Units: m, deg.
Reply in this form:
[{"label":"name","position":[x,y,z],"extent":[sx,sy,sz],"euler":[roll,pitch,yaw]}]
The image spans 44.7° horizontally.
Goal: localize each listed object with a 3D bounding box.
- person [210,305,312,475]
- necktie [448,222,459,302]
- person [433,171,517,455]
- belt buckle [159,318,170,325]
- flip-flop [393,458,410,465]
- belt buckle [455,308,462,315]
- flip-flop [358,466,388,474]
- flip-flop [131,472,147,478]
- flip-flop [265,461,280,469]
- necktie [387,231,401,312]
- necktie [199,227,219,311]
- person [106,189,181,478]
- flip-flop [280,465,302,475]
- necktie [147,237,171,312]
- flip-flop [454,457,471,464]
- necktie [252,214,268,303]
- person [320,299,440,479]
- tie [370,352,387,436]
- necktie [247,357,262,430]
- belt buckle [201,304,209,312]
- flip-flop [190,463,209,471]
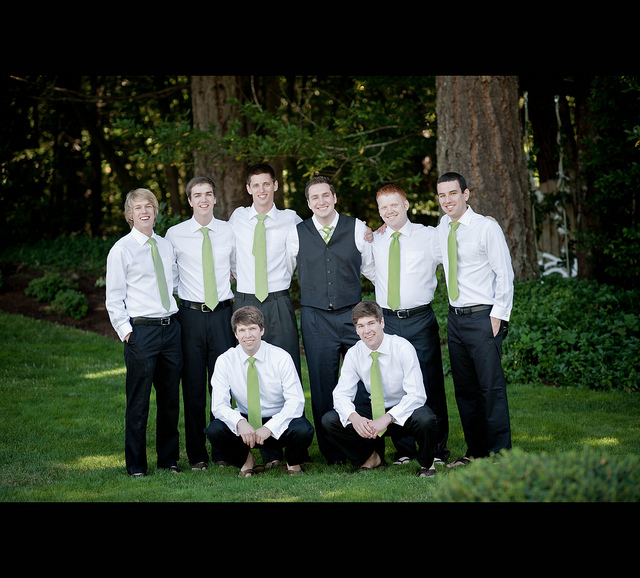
[{"label":"person","position":[-0.455,0.783,6.017],"extent":[0.827,1.314,0.630],"euler":[2,7,34]},{"label":"necktie","position":[1.015,-0.201,5.916],"extent":[0.099,0.610,0.038],"euler":[3,8,36]},{"label":"person","position":[1.160,0.210,5.925],"extent":[0.596,2.186,0.427],"euler":[1,6,24]},{"label":"belt buckle","position":[-1.205,0.247,6.007],"extent":[0.088,0.079,0.039],"euler":[2,8,-22]},{"label":"flip-flop","position":[0.641,1.362,6.118],"extent":[0.106,0.051,0.042],"euler":[-4,12,6]},{"label":"belt buckle","position":[1.052,0.166,5.926],"extent":[0.011,0.054,0.048],"euler":[0,1,-29]},{"label":"flip-flop","position":[0.408,1.387,6.008],"extent":[0.190,0.058,0.067],"euler":[8,-12,-30]},{"label":"flip-flop","position":[-1.374,1.419,5.954],"extent":[0.108,0.017,0.060],"euler":[-5,7,-22]},{"label":"flip-flop","position":[-0.378,1.384,6.151],"extent":[0.104,0.017,0.113],"euler":[-1,7,9]},{"label":"necktie","position":[0.579,-0.145,6.093],"extent":[0.113,0.599,0.139],"euler":[-1,6,6]},{"label":"necktie","position":[-0.877,-0.169,6.174],"extent":[0.115,0.646,0.216],"euler":[-3,6,-9]},{"label":"person","position":[-1.351,0.326,6.020],"extent":[0.530,2.183,0.390],"euler":[-3,6,-13]},{"label":"flip-flop","position":[-0.225,1.396,6.000],"extent":[0.162,0.074,0.059],"euler":[4,-7,3]},{"label":"necktie","position":[-1.239,-0.116,6.026],"extent":[0.090,0.576,0.180],"euler":[-7,8,-40]},{"label":"flip-flop","position":[1.114,1.339,6.085],"extent":[0.123,0.023,0.101],"euler":[-1,7,14]},{"label":"necktie","position":[-0.469,-0.253,6.234],"extent":[0.126,0.688,0.187],"euler":[-2,6,-4]},{"label":"person","position":[0.442,0.736,5.963],"extent":[0.895,1.307,0.564],"euler":[-1,6,8]},{"label":"tie","position":[0.431,0.776,5.872],"extent":[0.083,0.677,0.066],"euler":[-1,-6,4]},{"label":"necktie","position":[-0.501,0.814,5.894],"extent":[0.090,0.487,0.044],"euler":[-3,6,-9]},{"label":"belt buckle","position":[-0.901,0.150,6.129],"extent":[0.053,0.060,0.015],"euler":[2,2,4]},{"label":"flip-flop","position":[-0.949,1.413,6.166],"extent":[0.132,0.066,0.049],"euler":[3,-15,11]}]
